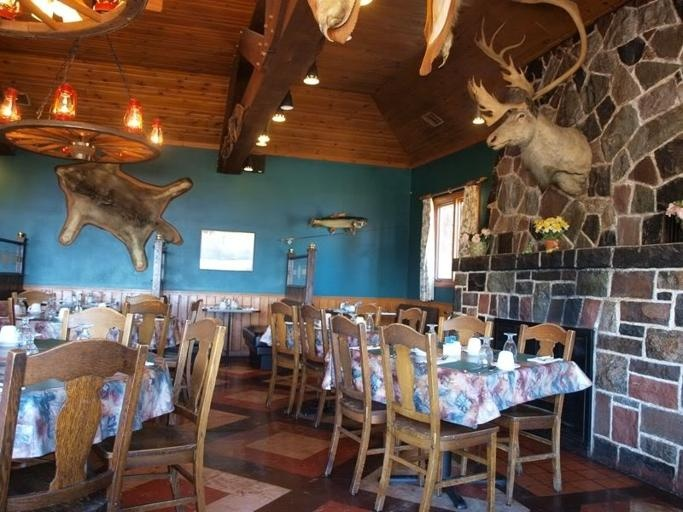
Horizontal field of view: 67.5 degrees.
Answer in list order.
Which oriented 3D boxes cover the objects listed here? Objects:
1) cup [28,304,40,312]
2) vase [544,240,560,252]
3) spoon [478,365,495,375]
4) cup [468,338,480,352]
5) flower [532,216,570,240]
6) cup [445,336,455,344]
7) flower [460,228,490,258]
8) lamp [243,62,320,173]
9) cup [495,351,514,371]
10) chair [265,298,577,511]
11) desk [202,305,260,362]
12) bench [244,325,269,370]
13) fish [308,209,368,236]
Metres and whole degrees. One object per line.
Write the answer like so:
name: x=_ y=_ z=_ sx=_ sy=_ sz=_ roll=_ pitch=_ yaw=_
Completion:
cup: x=-3.057 y=0.519 z=5.091 sx=0.117 sy=0.101 sz=0.083 roll=-1 pitch=6 yaw=-27
vase: x=2.129 y=-0.102 z=5.129 sx=0.125 sy=0.098 sz=0.117 roll=3 pitch=-6 yaw=4
spoon: x=0.922 y=0.723 z=3.216 sx=0.108 sy=0.024 sz=0.245 roll=1 pitch=0 yaw=16
cup: x=0.967 y=0.658 z=3.747 sx=0.098 sy=0.095 sz=0.094 roll=1 pitch=-6 yaw=0
flower: x=2.127 y=-0.306 z=5.182 sx=0.271 sy=0.199 sz=0.276 roll=-20 pitch=25 yaw=-30
cup: x=0.800 y=0.629 z=3.773 sx=0.067 sy=0.059 sz=0.054 roll=-11 pitch=-3 yaw=20
flower: x=1.677 y=-0.150 z=6.426 sx=0.357 sy=0.343 sz=0.366 roll=1 pitch=-5 yaw=27
lamp: x=-0.787 y=-1.800 z=6.631 sx=0.215 sy=1.442 sz=0.344 roll=12 pitch=25 yaw=-45
cup: x=1.067 y=0.685 z=3.340 sx=0.109 sy=0.098 sz=0.108 roll=-2 pitch=0 yaw=0
chair: x=0.900 y=1.077 z=3.565 sx=1.726 sy=0.993 sz=1.030 roll=1 pitch=0 yaw=-16
desk: x=-1.784 y=1.095 z=7.872 sx=0.933 sy=0.905 sz=0.938 roll=2 pitch=1 yaw=-1
bench: x=-1.176 y=1.323 z=7.210 sx=0.465 sy=0.423 sz=0.857 roll=2 pitch=-1 yaw=-12
fish: x=-0.083 y=-0.562 z=8.215 sx=0.871 sy=0.322 sz=0.926 roll=1 pitch=0 yaw=-4
